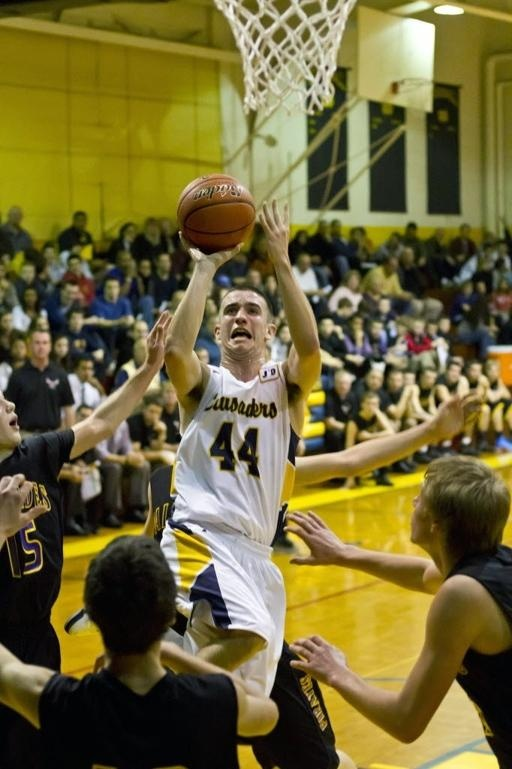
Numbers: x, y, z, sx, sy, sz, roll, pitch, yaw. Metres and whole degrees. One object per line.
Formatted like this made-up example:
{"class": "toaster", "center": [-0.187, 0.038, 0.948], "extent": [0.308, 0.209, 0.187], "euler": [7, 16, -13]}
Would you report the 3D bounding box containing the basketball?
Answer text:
{"class": "basketball", "center": [-0.145, -0.513, 2.421], "extent": [0.252, 0.283, 0.243], "euler": [2, 7, -11]}
